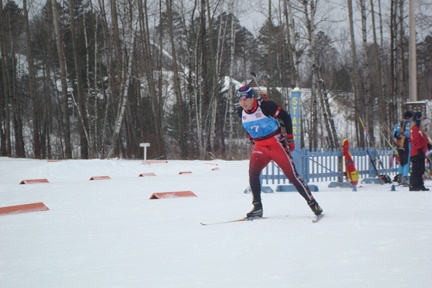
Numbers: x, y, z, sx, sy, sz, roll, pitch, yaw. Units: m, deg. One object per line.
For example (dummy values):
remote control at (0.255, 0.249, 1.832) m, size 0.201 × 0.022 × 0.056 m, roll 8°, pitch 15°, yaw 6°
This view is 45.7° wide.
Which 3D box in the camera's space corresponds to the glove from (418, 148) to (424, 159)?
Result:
glove at (8.503, 0.386, 21.082) m, size 0.365 × 0.400 × 0.124 m, roll -4°, pitch 0°, yaw -37°

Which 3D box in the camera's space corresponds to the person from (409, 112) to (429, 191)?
person at (8.493, 0.301, 21.410) m, size 0.653 × 3.247 × 1.059 m, roll -4°, pitch 0°, yaw 37°

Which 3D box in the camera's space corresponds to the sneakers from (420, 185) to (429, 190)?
sneakers at (8.685, 1.821, 21.154) m, size 0.399 × 0.213 × 0.227 m, roll -4°, pitch 0°, yaw -41°

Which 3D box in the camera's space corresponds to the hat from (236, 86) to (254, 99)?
hat at (1.014, -1.809, 18.085) m, size 0.396 × 0.404 × 0.524 m, roll -4°, pitch 20°, yaw 18°

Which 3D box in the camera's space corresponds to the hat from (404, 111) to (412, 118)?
hat at (8.498, -1.279, 22.608) m, size 0.264 × 0.322 × 0.367 m, roll -33°, pitch 3°, yaw 31°

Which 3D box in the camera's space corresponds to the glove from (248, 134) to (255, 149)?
glove at (1.288, -0.075, 18.603) m, size 0.158 × 0.600 × 0.173 m, roll -21°, pitch 17°, yaw 5°
